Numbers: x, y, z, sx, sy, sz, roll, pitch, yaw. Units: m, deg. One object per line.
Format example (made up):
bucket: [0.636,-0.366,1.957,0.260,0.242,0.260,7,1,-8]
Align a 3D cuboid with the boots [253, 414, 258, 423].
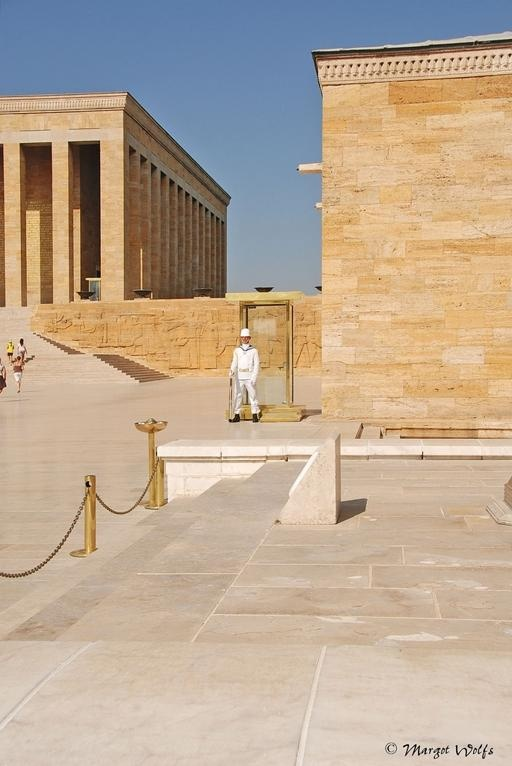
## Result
boots: [-0.003,0.649,16.932,0.140,0.134,0.129,1,-5,-3]

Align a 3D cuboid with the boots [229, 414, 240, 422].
boots: [-0.378,0.658,17.231,0.226,0.182,0.099,4,-3,-1]
